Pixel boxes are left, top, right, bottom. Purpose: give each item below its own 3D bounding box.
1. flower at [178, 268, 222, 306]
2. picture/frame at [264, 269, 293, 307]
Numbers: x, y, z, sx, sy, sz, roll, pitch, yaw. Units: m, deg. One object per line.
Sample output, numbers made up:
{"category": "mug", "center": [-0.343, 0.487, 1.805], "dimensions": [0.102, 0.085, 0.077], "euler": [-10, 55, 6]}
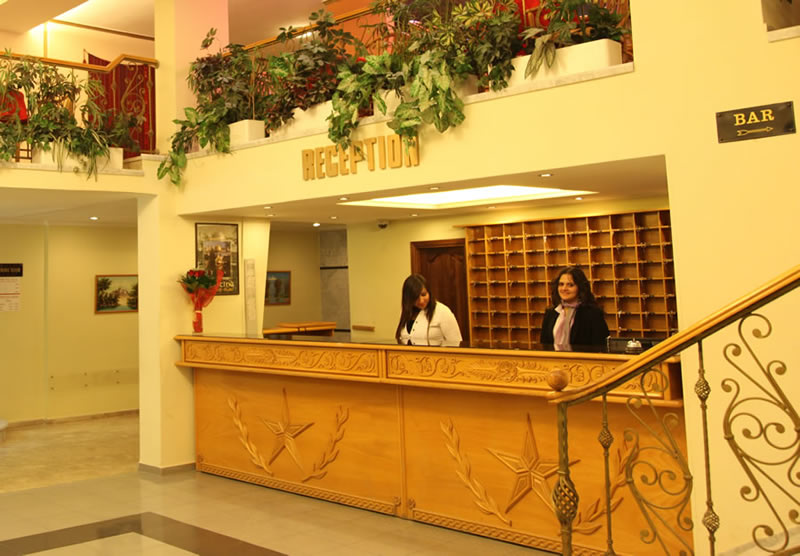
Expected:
{"category": "flower", "center": [-2.668, 0.173, 8.002], "dimensions": [0.534, 0.520, 0.506], "euler": [-8, 0, -12]}
{"category": "picture/frame", "center": [-2.674, 0.209, 13.061], "dimensions": [0.849, 0.899, 0.090], "euler": [1, 2, -38]}
